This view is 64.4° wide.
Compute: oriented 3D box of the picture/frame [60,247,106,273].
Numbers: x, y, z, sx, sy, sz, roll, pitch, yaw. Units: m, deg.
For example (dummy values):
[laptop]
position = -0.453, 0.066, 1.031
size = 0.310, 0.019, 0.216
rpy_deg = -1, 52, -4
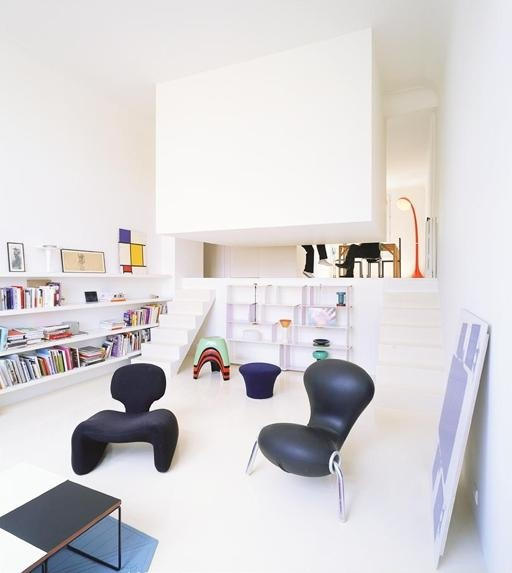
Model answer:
[picture/frame]
position = -2.304, -0.335, 5.483
size = 0.141, 0.311, 0.815
rpy_deg = 1, 4, 13

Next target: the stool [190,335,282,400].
[stool]
position = -0.291, 0.980, 5.177
size = 1.180, 0.685, 0.554
rpy_deg = -1, 1, 30

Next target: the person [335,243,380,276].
[person]
position = 1.988, -0.487, 7.825
size = 0.747, 0.647, 0.692
rpy_deg = 2, 4, 27

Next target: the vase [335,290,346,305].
[vase]
position = 1.206, 0.178, 5.799
size = 0.147, 0.191, 0.146
rpy_deg = 3, -3, -45
